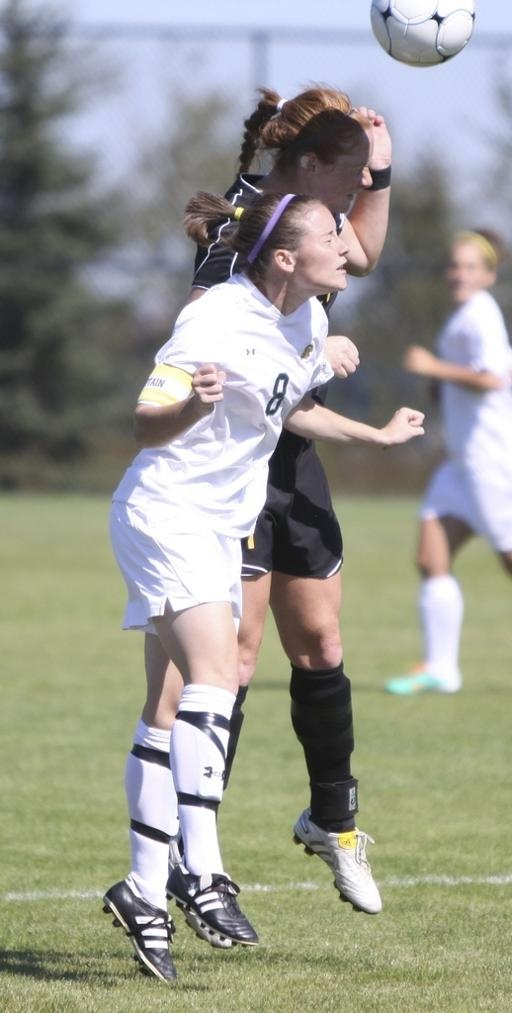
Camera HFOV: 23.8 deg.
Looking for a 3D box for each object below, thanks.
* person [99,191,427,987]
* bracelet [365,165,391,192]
[{"bbox_3d":[-0.041,0.123,2.260,0.405,1.391,0.569,0,0,41],"label":"person"},{"bbox_3d":[0.284,-0.763,2.830,0.046,0.059,0.080,20,35,37],"label":"bracelet"}]
